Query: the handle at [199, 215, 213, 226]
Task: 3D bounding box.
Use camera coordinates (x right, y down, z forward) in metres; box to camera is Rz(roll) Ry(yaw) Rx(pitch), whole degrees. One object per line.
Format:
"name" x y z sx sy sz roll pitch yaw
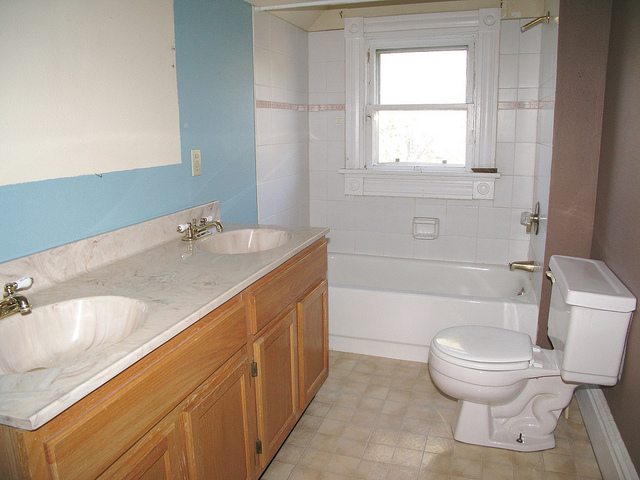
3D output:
"handle" -0.582 -0.097 2.383 0.054 0.044 0.088 -4 16 -13

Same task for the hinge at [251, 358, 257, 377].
"hinge" -0.268 0.532 1.900 0.018 0.067 0.020 3 15 12

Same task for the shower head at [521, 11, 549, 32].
"shower head" 1.427 -1.446 3.071 0.161 0.116 0.254 7 17 24

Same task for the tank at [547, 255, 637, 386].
"tank" 1.286 0.402 2.260 0.282 0.475 0.433 4 16 15

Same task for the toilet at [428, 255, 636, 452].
"toilet" 1.003 0.584 2.592 0.816 0.961 0.939 5 12 11

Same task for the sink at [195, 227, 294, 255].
"sink" -0.391 0.028 2.439 0.493 0.126 0.252 -5 16 -15

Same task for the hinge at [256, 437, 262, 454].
"hinge" -0.259 0.884 1.967 0.008 0.079 0.036 8 17 28

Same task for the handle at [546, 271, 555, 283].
"handle" 1.191 0.194 2.387 0.014 0.043 0.043 -27 18 12

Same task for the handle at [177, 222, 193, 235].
"handle" -0.673 -0.053 2.310 0.068 0.053 0.092 -6 17 -22

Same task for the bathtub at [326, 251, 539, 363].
"bathtub" 0.673 0.478 3.499 1.502 0.428 0.867 4 13 1
